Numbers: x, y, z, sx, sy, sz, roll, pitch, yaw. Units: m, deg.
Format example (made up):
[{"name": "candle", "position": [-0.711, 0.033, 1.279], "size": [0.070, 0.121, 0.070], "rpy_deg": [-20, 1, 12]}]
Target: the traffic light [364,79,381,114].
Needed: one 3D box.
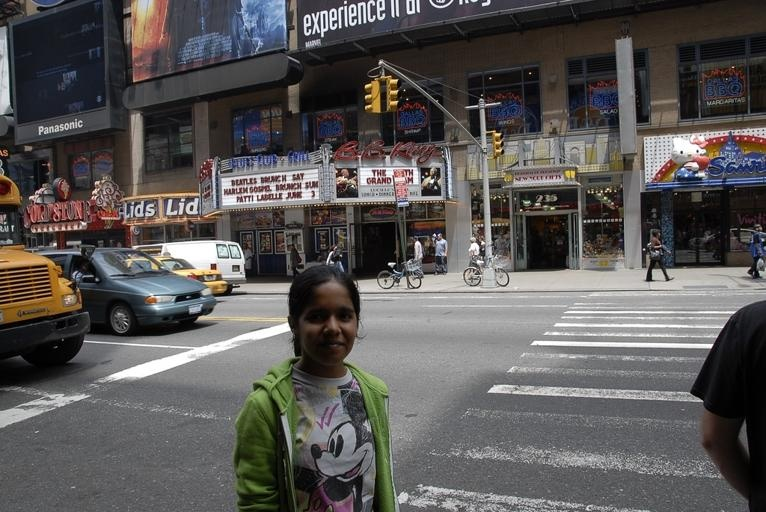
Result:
[{"name": "traffic light", "position": [-0.357, -5.504, 22.076], "size": [0.514, 1.157, 1.619], "rpy_deg": [-2, 11, -3]}]

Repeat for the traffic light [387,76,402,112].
[{"name": "traffic light", "position": [0.315, -5.485, 21.787], "size": [0.342, 1.085, 1.145], "rpy_deg": [0, 11, 7]}]

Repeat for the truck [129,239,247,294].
[{"name": "truck", "position": [-7.986, 0.342, 26.608], "size": [4.085, 1.683, 2.112], "rpy_deg": [2, 0, 18]}]

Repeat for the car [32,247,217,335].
[{"name": "car", "position": [-6.436, 0.874, 17.009], "size": [3.930, 1.435, 2.178], "rpy_deg": [-3, -1, 20]}]

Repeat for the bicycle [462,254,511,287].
[{"name": "bicycle", "position": [4.107, 0.574, 26.107], "size": [1.731, 1.113, 1.095], "rpy_deg": [-1, 7, 11]}]

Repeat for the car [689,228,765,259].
[{"name": "car", "position": [14.861, -0.632, 28.486], "size": [2.294, 1.177, 1.373], "rpy_deg": [4, 2, 26]}]

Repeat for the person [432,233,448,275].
[{"name": "person", "position": [2.841, -0.103, 32.074], "size": [0.595, 1.962, 1.468], "rpy_deg": [-1, 11, 5]}]

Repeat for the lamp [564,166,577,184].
[{"name": "lamp", "position": [8.486, -3.708, 29.452], "size": [0.699, 0.713, 0.405], "rpy_deg": [-3, -5, 20]}]

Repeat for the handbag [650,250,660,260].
[{"name": "handbag", "position": [9.926, 0.004, 23.756], "size": [0.413, 0.475, 0.238], "rpy_deg": [-3, -2, 27]}]

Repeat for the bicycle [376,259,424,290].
[{"name": "bicycle", "position": [0.619, 0.730, 26.795], "size": [2.045, 1.339, 1.034], "rpy_deg": [-1, 7, 12]}]
